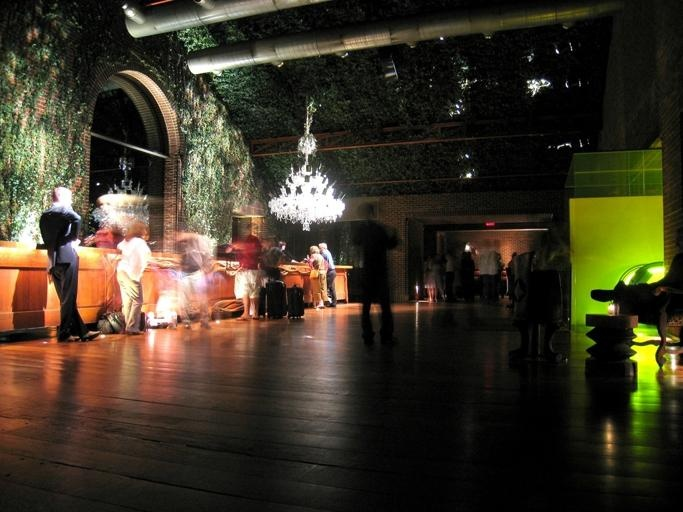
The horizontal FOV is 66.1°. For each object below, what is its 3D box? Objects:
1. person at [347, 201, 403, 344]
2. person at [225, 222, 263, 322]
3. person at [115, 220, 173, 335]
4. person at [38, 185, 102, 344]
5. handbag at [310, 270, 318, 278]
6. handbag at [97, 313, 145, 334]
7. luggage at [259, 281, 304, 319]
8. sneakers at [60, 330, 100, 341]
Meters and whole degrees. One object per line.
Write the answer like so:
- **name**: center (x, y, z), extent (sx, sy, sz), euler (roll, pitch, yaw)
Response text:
- **person**: center (0.416, 0.202, 6.519), extent (0.537, 1.696, 0.809), euler (1, -2, 5)
- **person**: center (-1.892, 0.430, 10.551), extent (0.515, 1.607, 1.797), euler (1, -2, -11)
- **person**: center (-3.042, 0.313, 7.617), extent (0.458, 1.613, 0.378), euler (1, -2, -8)
- **person**: center (-3.635, 0.099, 6.966), extent (0.656, 1.994, 0.527), euler (2, -2, -31)
- **handbag**: center (-0.699, 0.467, 13.925), extent (0.194, 0.205, 0.198), euler (1, 3, 17)
- **handbag**: center (-3.255, 0.976, 7.720), extent (0.515, 0.209, 0.341), euler (1, -9, -11)
- **luggage**: center (-1.204, 0.867, 10.604), extent (0.892, 0.740, 0.576), euler (1, -2, -9)
- **sneakers**: center (-3.434, 1.058, 6.904), extent (0.431, 0.197, 0.149), euler (3, -10, -1)
